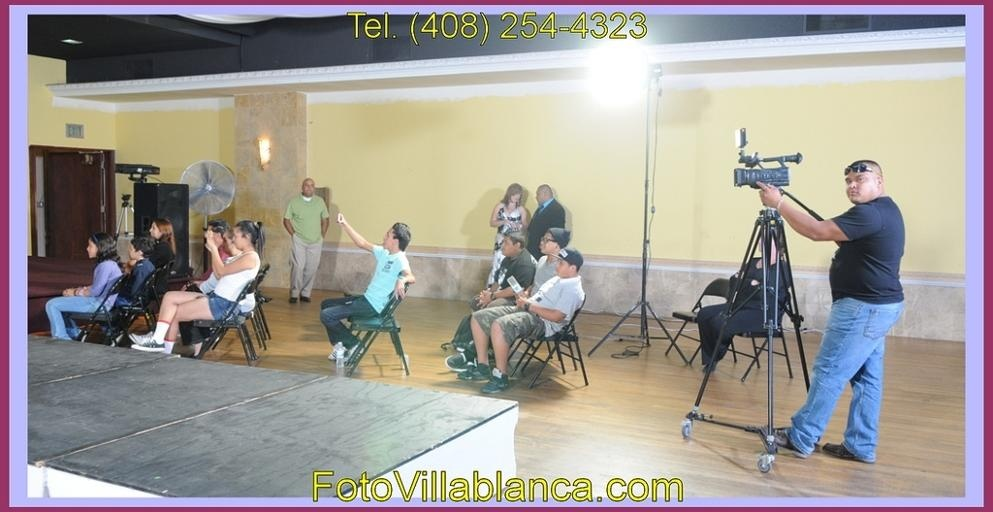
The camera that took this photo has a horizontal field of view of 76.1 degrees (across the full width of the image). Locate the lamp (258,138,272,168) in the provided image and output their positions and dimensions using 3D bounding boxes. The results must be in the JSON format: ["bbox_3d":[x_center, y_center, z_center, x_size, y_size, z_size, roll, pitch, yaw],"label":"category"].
[{"bbox_3d":[-4.812,-2.146,13.251,0.290,0.585,0.083,2,9,17],"label":"lamp"}]

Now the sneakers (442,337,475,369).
[{"bbox_3d":[-0.448,1.366,8.415,0.204,0.226,0.599,28,12,32],"label":"sneakers"}]

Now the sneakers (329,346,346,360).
[{"bbox_3d":[-2.062,1.279,8.277,0.151,0.159,0.421,-3,3,-30],"label":"sneakers"}]

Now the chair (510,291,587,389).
[{"bbox_3d":[0.757,1.301,8.723,1.209,1.352,0.897,4,-4,-25],"label":"chair"}]

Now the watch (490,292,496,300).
[{"bbox_3d":[-0.039,0.562,8.573,0.061,0.068,0.030,2,-4,-40],"label":"watch"}]

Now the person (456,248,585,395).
[{"bbox_3d":[0.326,0.761,7.953,1.400,1.707,0.650,-3,9,-16],"label":"person"}]

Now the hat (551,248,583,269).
[{"bbox_3d":[0.894,0.021,7.829,0.310,0.151,0.203,25,14,6],"label":"hat"}]

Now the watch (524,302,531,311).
[{"bbox_3d":[0.385,0.642,7.825,0.108,0.089,0.072,2,-2,21],"label":"watch"}]

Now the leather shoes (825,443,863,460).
[{"bbox_3d":[3.602,2.040,6.576,0.340,0.115,0.130,11,13,36],"label":"leather shoes"}]

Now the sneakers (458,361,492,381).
[{"bbox_3d":[-0.267,1.487,8.112,0.403,0.137,0.220,2,-2,-5],"label":"sneakers"}]

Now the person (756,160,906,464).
[{"bbox_3d":[3.521,0.581,6.425,1.336,3.059,0.522,-3,9,-19],"label":"person"}]

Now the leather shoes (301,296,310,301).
[{"bbox_3d":[-3.615,0.809,12.009,0.201,0.078,0.189,-2,7,-10],"label":"leather shoes"}]

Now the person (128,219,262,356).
[{"bbox_3d":[-3.829,0.467,8.365,1.372,1.831,0.650,-2,9,-14],"label":"person"}]

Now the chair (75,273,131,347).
[{"bbox_3d":[-5.516,0.746,8.792,1.073,1.039,0.588,6,10,40],"label":"chair"}]

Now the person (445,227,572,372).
[{"bbox_3d":[0.133,0.576,8.712,1.281,1.888,0.878,-10,14,-10],"label":"person"}]

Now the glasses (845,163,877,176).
[{"bbox_3d":[3.642,-0.874,6.358,0.256,0.124,0.171,3,8,26],"label":"glasses"}]

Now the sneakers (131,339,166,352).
[{"bbox_3d":[-4.428,1.108,8.042,0.499,0.170,0.204,1,7,10],"label":"sneakers"}]

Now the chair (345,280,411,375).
[{"bbox_3d":[-1.537,0.875,8.404,0.768,0.950,0.634,-2,12,-13],"label":"chair"}]
